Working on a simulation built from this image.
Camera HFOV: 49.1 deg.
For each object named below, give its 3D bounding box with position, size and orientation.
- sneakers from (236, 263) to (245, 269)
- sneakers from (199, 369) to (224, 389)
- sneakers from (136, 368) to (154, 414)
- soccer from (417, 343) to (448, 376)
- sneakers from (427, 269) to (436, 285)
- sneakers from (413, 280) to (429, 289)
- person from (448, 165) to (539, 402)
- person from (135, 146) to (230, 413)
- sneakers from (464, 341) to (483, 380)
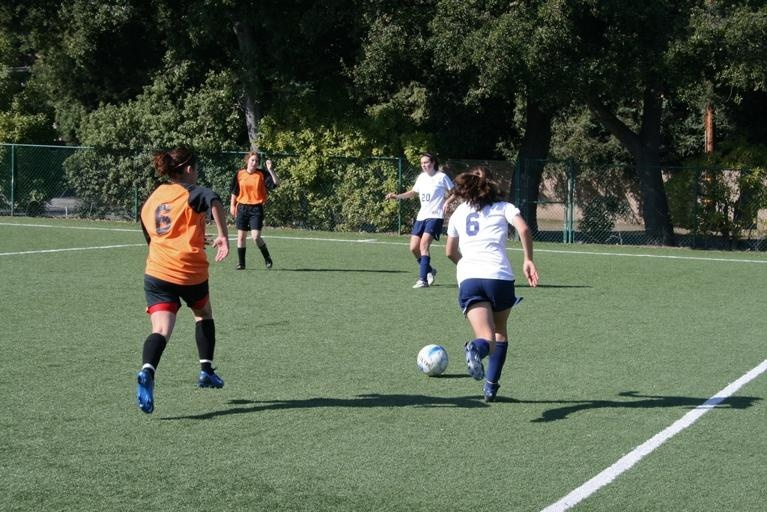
[{"bbox_3d":[-2.923,0.208,17.334,0.116,0.093,0.223,0,-2,1],"label":"sneakers"},{"bbox_3d":[-1.818,1.349,9.149,0.338,0.194,0.147,0,3,-19],"label":"sneakers"},{"bbox_3d":[-2.336,1.302,8.274,0.155,0.504,0.229,-3,-9,-2],"label":"sneakers"},{"bbox_3d":[0.595,1.241,9.892,0.374,0.379,0.278,-1,11,-14],"label":"soccer"},{"bbox_3d":[0.908,0.372,15.573,0.109,0.353,0.168,3,-32,14],"label":"sneakers"},{"bbox_3d":[0.691,0.514,15.358,0.277,0.124,0.357,3,11,7],"label":"sneakers"},{"bbox_3d":[1.113,0.343,8.985,0.979,2.515,0.872,5,11,20],"label":"person"},{"bbox_3d":[-2.129,0.232,8.837,0.848,2.677,1.599,2,10,4],"label":"person"},{"bbox_3d":[0.934,1.083,8.572,0.170,0.393,0.216,1,10,2],"label":"sneakers"}]
